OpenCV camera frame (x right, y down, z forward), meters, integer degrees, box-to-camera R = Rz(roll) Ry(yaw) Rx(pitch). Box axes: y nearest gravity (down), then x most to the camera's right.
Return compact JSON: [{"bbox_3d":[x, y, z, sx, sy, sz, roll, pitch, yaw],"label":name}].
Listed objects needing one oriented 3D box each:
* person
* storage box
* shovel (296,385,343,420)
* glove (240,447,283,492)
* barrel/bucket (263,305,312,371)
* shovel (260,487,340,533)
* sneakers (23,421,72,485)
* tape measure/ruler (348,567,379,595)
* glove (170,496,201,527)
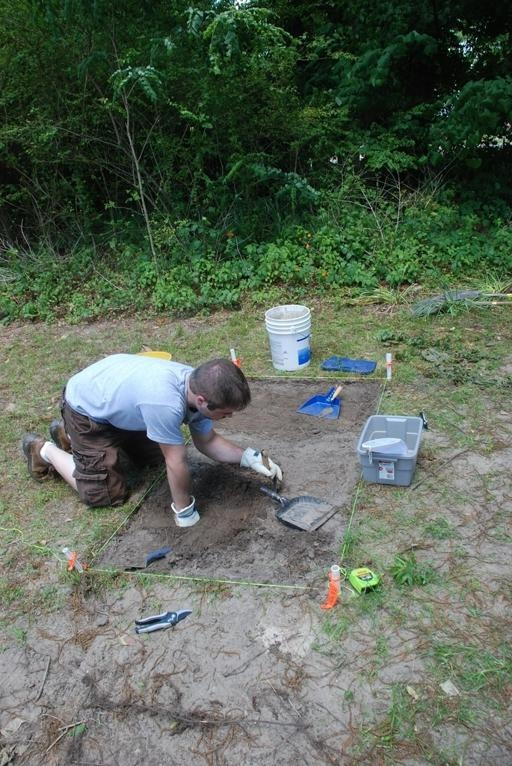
[{"bbox_3d":[-0.572,0.227,3.185,1.311,0.835,0.621,10,25,18],"label":"person"},{"bbox_3d":[0.707,0.297,3.266,0.267,0.199,0.436,2,33,21],"label":"storage box"},{"bbox_3d":[0.411,0.085,4.130,0.284,0.154,0.408,-1,20,12],"label":"shovel"},{"bbox_3d":[0.002,0.462,3.235,0.099,0.222,0.218,-41,14,34],"label":"glove"},{"bbox_3d":[0.264,-0.348,4.737,0.453,0.475,0.445,-2,34,1],"label":"barrel/bucket"},{"bbox_3d":[0.173,0.608,3.087,0.402,0.064,0.235,10,25,37],"label":"shovel"},{"bbox_3d":[-1.200,0.414,3.623,0.368,0.155,0.137,46,47,7],"label":"sneakers"},{"bbox_3d":[0.439,0.795,2.559,0.080,0.034,0.104,-6,22,-10],"label":"tape measure/ruler"},{"bbox_3d":[-0.355,0.638,3.144,0.153,0.151,0.096,-13,9,36],"label":"glove"}]
